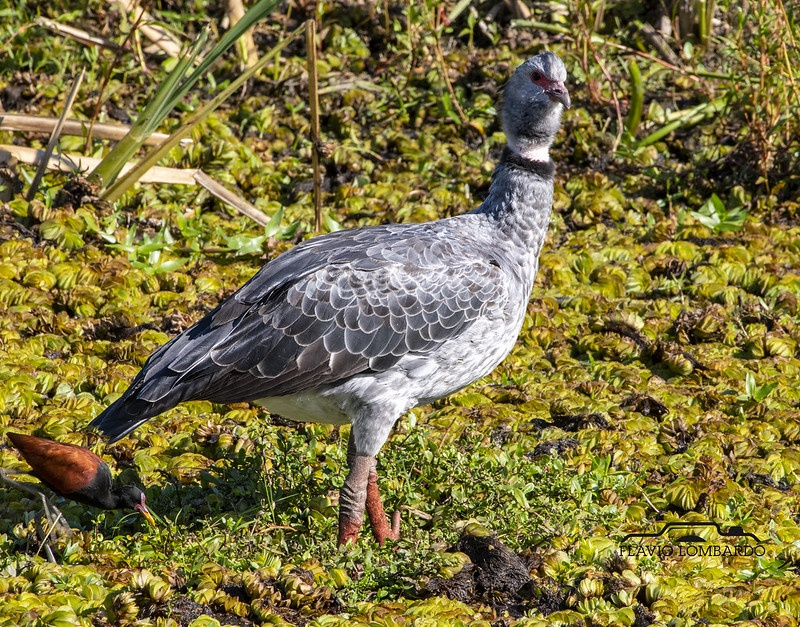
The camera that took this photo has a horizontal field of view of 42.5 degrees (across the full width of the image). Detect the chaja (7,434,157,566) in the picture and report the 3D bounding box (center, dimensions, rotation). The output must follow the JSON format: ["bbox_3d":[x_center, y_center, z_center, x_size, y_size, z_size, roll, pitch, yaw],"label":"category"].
[{"bbox_3d":[-1.630,0.902,5.058,0.855,0.316,0.438,24,13,7],"label":"chaja"}]
